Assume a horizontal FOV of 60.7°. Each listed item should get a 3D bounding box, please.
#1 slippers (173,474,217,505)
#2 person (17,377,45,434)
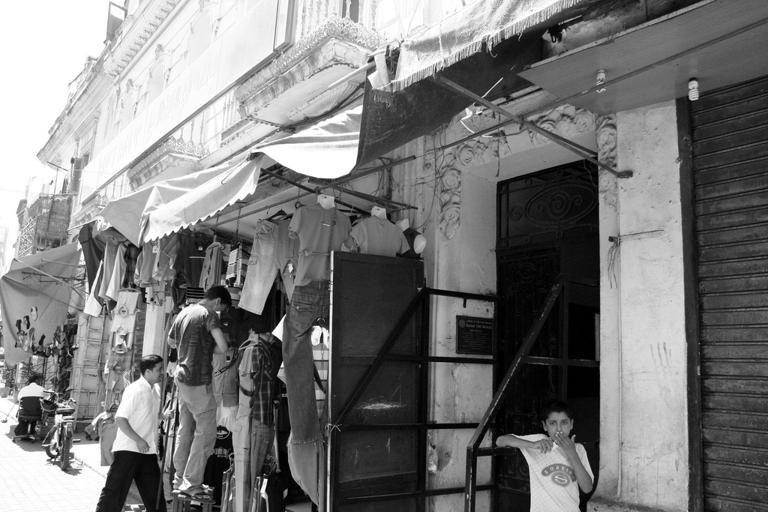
[{"bbox_3d":[-2.415,2.838,8.026,0.705,0.332,0.266,6,-14,10],"label":"slippers"},{"bbox_3d":[-8.198,3.461,15.213,0.475,1.386,0.695,8,-15,-31],"label":"person"}]
